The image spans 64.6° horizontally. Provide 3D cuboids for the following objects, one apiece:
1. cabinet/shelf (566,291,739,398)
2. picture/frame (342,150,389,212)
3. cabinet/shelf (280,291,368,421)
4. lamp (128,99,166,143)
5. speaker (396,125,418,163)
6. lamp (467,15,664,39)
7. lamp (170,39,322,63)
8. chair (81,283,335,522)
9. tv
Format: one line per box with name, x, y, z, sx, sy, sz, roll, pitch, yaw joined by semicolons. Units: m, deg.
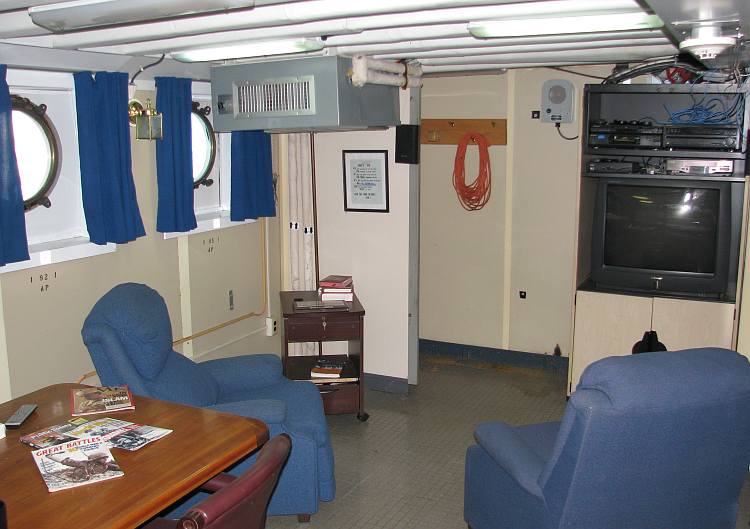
cabinet/shelf;1.919;0.503;4.008;0.892;0.798;0.291;2;5;20
picture/frame;-0.073;-0.798;5.567;0.569;0.676;0.032;4;14;22
cabinet/shelf;-0.407;0.784;5.478;1.004;1.329;0.995;-1;8;-3
lamp;-1.638;-1.045;4.270;0.171;0.249;0.218;-10;22;-41
speaker;0.292;-1.082;5.387;0.221;0.360;0.090;1;15;1
lamp;1.023;-1.304;3.259;1.031;0.098;0.326;1;14;4
lamp;-0.839;-1.387;3.824;1.047;0.102;0.403;8;16;27
chair;-1.042;0.878;4.018;1.509;1.418;1.149;1;9;-10
tv;2.399;-0.230;5.224;1.201;0.947;0.748;4;0;11
